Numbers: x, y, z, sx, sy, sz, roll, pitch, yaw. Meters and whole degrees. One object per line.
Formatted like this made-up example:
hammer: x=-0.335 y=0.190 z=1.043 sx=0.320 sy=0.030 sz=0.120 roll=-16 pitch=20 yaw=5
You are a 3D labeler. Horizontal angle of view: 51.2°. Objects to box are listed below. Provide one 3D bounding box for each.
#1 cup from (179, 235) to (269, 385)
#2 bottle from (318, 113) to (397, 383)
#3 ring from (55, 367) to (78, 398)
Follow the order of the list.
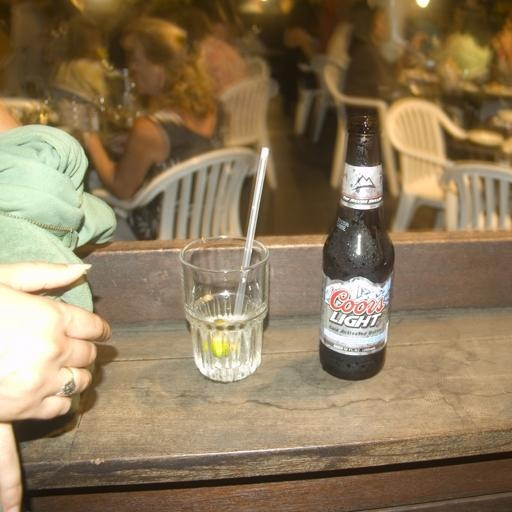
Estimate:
cup: x=-0.045 y=0.078 z=0.819 sx=0.134 sy=0.189 sz=0.145 roll=0 pitch=24 yaw=0
bottle: x=0.146 y=-0.009 z=0.767 sx=0.117 sy=0.378 sz=0.152 roll=6 pitch=26 yaw=12
ring: x=-0.231 y=0.159 z=0.666 sx=0.031 sy=0.028 sz=0.034 roll=0 pitch=7 yaw=0
